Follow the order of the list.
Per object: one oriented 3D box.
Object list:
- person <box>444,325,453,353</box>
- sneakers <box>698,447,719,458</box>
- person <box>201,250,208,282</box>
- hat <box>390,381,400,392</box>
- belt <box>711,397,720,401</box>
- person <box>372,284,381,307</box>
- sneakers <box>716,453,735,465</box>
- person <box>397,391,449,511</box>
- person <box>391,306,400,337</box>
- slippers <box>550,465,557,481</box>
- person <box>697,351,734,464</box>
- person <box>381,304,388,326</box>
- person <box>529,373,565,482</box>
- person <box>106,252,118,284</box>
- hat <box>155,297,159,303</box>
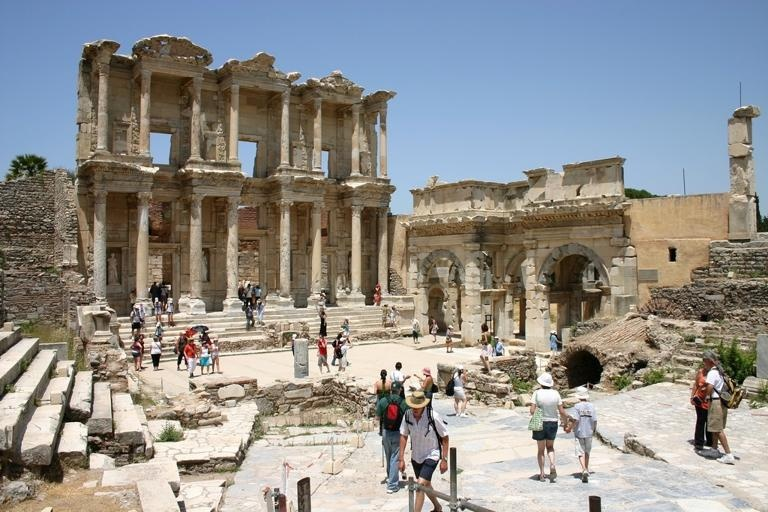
[{"bbox_3d":[3.077,3.947,32.442,0.306,1.133,0.865,-2,-2,2],"label":"person"},{"bbox_3d":[7.469,4.521,15.814,0.436,0.173,0.204,1,-3,42],"label":"sneakers"},{"bbox_3d":[-9.502,0.495,36.641,0.315,1.731,0.587,-2,-2,-13],"label":"person"},{"bbox_3d":[0.253,2.753,14.554,0.234,0.345,0.158,2,30,-1],"label":"hat"},{"bbox_3d":[7.542,3.238,15.608,0.157,0.058,0.024,-3,-2,22],"label":"belt"},{"bbox_3d":[-0.341,2.168,39.213,0.455,1.246,1.006,-2,-2,0],"label":"person"},{"bbox_3d":[7.717,4.553,15.493,0.325,0.160,0.298,-3,-2,39],"label":"sneakers"},{"bbox_3d":[0.734,3.654,13.799,1.040,1.830,0.651,-3,-2,20],"label":"person"},{"bbox_3d":[0.581,3.262,36.707,0.361,1.141,0.636,-2,-2,6],"label":"person"},{"bbox_3d":[3.676,4.694,14.878,0.142,0.301,0.134,-3,7,10],"label":"slippers"},{"bbox_3d":[7.684,3.442,15.731,0.569,1.691,0.660,-3,-2,25],"label":"person"},{"bbox_3d":[0.065,3.227,37.154,0.315,1.083,0.954,-2,-2,0],"label":"person"},{"bbox_3d":[3.563,3.730,14.983,0.764,2.246,0.441,-2,-2,8],"label":"person"},{"bbox_3d":[-13.407,0.590,33.972,0.572,1.640,0.331,-1,-2,-20],"label":"person"},{"bbox_3d":[-10.500,2.032,31.631,0.263,0.237,0.228,-2,1,-4],"label":"hat"}]
